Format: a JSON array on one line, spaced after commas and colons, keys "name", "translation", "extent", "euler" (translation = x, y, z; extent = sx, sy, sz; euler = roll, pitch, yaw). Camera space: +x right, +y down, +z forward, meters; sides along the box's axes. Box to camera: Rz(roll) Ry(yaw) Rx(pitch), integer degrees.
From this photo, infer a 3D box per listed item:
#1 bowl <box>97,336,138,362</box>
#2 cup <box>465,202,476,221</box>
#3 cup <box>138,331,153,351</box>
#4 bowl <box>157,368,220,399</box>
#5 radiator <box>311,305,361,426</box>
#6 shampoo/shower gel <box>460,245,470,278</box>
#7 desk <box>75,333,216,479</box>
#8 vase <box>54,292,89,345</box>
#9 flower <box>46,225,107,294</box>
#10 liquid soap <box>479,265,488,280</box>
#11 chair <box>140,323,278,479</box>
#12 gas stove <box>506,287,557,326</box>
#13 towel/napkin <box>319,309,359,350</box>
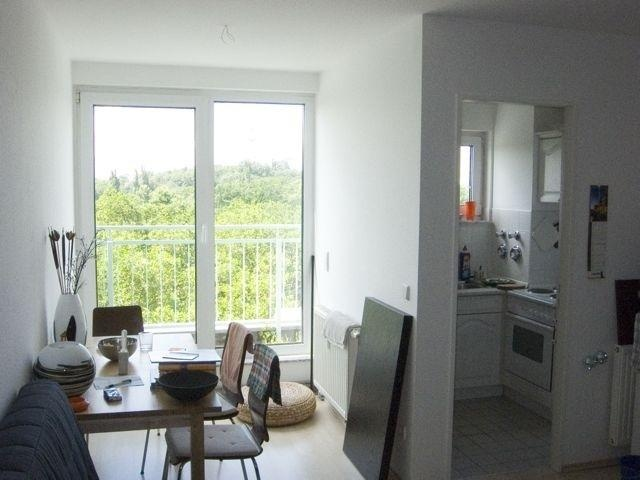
[{"name": "bowl", "translation": [-1.503, 0.756, 3.841], "extent": [0.192, 0.095, 0.200], "euler": [1, 2, 0]}, {"name": "cup", "translation": [1.517, -0.305, 5.302], "extent": [0.110, 0.208, 0.063], "euler": [-4, 5, -18]}, {"name": "cup", "translation": [-1.334, 0.771, 4.008], "extent": [0.112, 0.138, 0.116], "euler": [1, -3, 0]}, {"name": "bowl", "translation": [-0.810, 0.892, 3.196], "extent": [0.377, 0.130, 0.400], "euler": [4, 2, 0]}, {"name": "radiator", "translation": [0.157, 1.133, 4.734], "extent": [0.206, 0.778, 0.937], "euler": [-1, 9, -14]}, {"name": "shampoo/shower gel", "translation": [1.470, 0.227, 5.294], "extent": [0.173, 0.339, 0.072], "euler": [-6, 7, -42]}, {"name": "desk", "translation": [-1.077, 1.138, 3.488], "extent": [0.850, 0.580, 1.122], "euler": [-4, 4, -17]}, {"name": "vase", "translation": [-1.874, 0.586, 3.897], "extent": [0.201, 0.389, 0.286], "euler": [-6, 6, -41]}, {"name": "flower", "translation": [-2.152, 0.144, 4.588], "extent": [0.413, 0.553, 0.367], "euler": [-15, 34, -35]}, {"name": "liquid soap", "translation": [1.663, 0.318, 5.334], "extent": [0.110, 0.140, 0.077], "euler": [-2, 5, 0]}, {"name": "chair", "translation": [-0.827, 1.228, 3.851], "extent": [0.910, 1.239, 1.534], "euler": [2, 1, -10]}, {"name": "gas stove", "translation": [2.070, 0.601, 4.832], "extent": [0.402, 0.263, 0.522], "euler": [-8, 11, -26]}, {"name": "towel/napkin", "translation": [0.159, 0.785, 4.670], "extent": [0.278, 0.299, 0.103], "euler": [23, 12, 40]}]
